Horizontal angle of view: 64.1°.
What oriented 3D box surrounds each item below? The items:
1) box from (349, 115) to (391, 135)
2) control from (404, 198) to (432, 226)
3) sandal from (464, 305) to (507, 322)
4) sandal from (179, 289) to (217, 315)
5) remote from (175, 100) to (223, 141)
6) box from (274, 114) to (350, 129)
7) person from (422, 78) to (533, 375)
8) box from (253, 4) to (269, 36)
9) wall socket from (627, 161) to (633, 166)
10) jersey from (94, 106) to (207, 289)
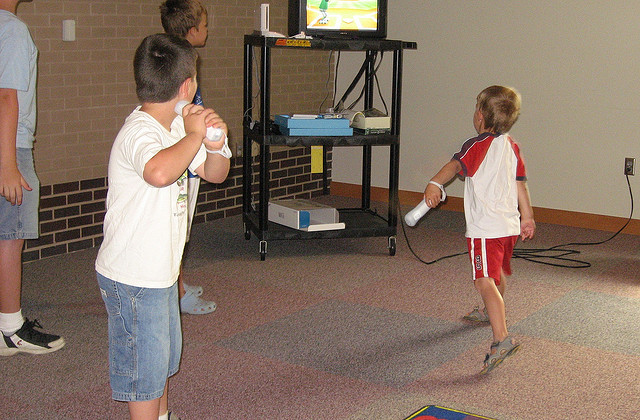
[{"bbox_3d":[0.459,-0.773,4.619,0.361,0.150,0.210,2,15,5],"label":"box"},{"bbox_3d":[0.859,0.027,4.459,0.099,0.379,0.101,42,-2,27],"label":"control"},{"bbox_3d":[1.087,0.718,3.532,0.158,0.078,0.102,8,17,24],"label":"sandal"},{"bbox_3d":[-0.855,0.631,3.520,0.295,0.138,0.117,0,13,-6],"label":"sandal"},{"bbox_3d":[-0.480,-0.348,1.972,0.115,0.141,0.210,-12,20,-40],"label":"remote"},{"bbox_3d":[-0.075,-0.772,4.464,0.665,0.104,0.228,2,16,3],"label":"box"},{"bbox_3d":[0.981,-0.031,3.125,0.561,1.396,0.616,10,17,33],"label":"person"},{"bbox_3d":[-0.509,-1.650,4.442,0.108,0.263,0.309,-2,15,-12],"label":"box"},{"bbox_3d":[3.214,-0.484,5.296,0.045,0.043,0.034,-6,8,-38],"label":"wall socket"},{"bbox_3d":[-0.669,-0.062,2.042,0.458,0.671,0.447,-5,16,-24],"label":"jersey"}]
